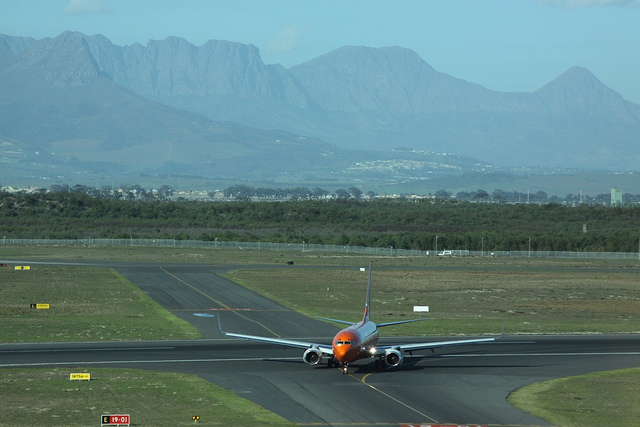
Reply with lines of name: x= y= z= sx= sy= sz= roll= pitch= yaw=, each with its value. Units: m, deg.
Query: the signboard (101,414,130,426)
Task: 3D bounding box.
signboard: x=-33.355 y=33.930 z=191.934 sx=6.194 sy=1.431 sz=2.342 roll=-1 pitch=17 yaw=-7

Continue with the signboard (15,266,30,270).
signboard: x=-67.670 y=12.298 z=267.275 sx=3.221 sy=0.538 sz=3.078 roll=1 pitch=0 yaw=-16

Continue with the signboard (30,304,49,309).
signboard: x=-53.792 y=17.924 z=225.381 sx=3.536 sy=0.777 sz=5.899 roll=1 pitch=0 yaw=-12

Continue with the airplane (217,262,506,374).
airplane: x=6.538 y=19.433 z=206.176 sx=39.836 sy=16.254 sz=13.149 roll=1 pitch=0 yaw=-4
